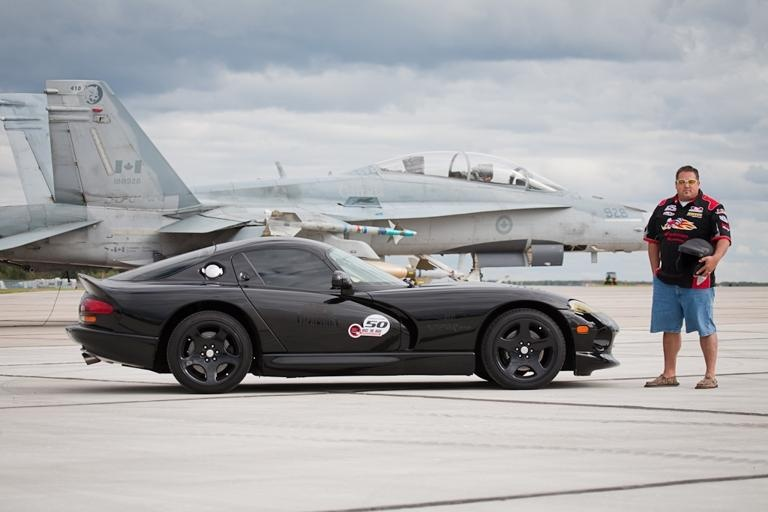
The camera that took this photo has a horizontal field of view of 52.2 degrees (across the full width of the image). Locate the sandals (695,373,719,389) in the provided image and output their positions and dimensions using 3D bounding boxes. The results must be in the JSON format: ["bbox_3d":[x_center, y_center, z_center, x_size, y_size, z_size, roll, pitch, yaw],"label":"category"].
[{"bbox_3d":[3.488,1.346,8.458,0.170,0.084,0.305,-3,-6,31],"label":"sandals"}]

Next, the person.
[{"bbox_3d":[3.312,0.231,8.574,0.871,2.431,0.936,-1,10,16],"label":"person"}]

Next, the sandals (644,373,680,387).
[{"bbox_3d":[3.033,1.367,8.547,0.449,0.083,0.131,1,-5,-3],"label":"sandals"}]

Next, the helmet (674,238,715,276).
[{"bbox_3d":[3.441,-0.068,8.544,0.412,0.238,0.287,-18,26,-31],"label":"helmet"}]
